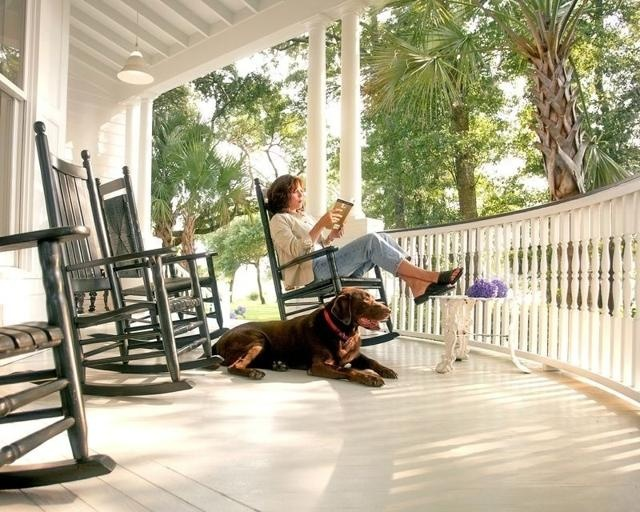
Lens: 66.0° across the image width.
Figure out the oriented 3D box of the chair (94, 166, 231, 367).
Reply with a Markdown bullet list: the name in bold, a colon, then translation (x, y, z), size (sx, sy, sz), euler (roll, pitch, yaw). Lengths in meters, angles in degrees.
- **chair**: translation (-1.055, 0.058, 3.225), size (0.806, 1.094, 0.736), euler (1, 10, -19)

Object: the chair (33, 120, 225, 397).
- **chair**: translation (-1.046, 0.021, 2.949), size (0.745, 1.340, 1.510), euler (-3, 0, -9)

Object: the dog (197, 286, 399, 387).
- **dog**: translation (-0.125, 0.480, 2.915), size (1.114, 0.486, 0.383), euler (-4, -15, 20)

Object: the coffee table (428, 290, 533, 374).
- **coffee table**: translation (0.951, 0.438, 3.122), size (0.572, 0.462, 0.631), euler (-7, -9, 42)

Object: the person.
- **person**: translation (0.199, -0.050, 3.583), size (1.565, 1.058, 0.669), euler (-5, -8, 16)

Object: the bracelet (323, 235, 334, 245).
- **bracelet**: translation (0.066, -0.114, 3.742), size (0.069, 0.067, 0.070), euler (12, -12, 21)

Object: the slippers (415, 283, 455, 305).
- **slippers**: translation (0.670, 0.212, 2.940), size (0.272, 0.090, 0.098), euler (-26, -9, 21)

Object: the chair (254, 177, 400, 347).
- **chair**: translation (-0.129, 0.047, 3.710), size (0.824, 1.055, 0.783), euler (3, 0, 23)

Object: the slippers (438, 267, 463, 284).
- **slippers**: translation (0.751, 0.117, 2.836), size (0.164, 0.045, 0.066), euler (-25, 19, 38)
